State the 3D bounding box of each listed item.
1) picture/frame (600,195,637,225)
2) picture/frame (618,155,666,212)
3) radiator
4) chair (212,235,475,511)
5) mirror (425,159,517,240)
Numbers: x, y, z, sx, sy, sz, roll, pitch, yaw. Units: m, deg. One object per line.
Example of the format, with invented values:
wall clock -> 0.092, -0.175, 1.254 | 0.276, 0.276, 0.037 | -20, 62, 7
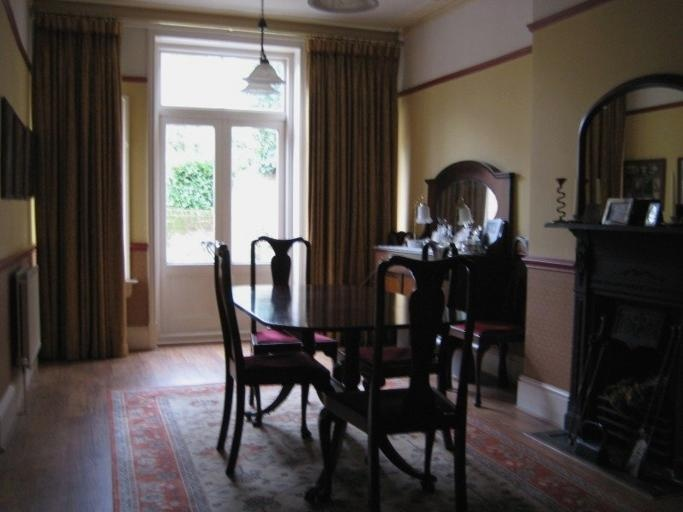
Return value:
picture/frame -> 1.698, -0.286, 3.326 | 0.016, 0.252, 0.201 | 23, -9, -17
picture/frame -> 1.806, -0.437, 3.249 | 0.023, 0.386, 0.304 | -3, 6, -30
radiator -> -2.378, 0.615, 4.113 | 0.120, 0.934, 0.909 | 0, 5, -17
chair -> 0.044, 0.635, 2.888 | 1.279, 0.941, 1.386 | -4, 8, -23
mirror -> 1.194, -0.512, 4.906 | 0.070, 0.625, 0.736 | -1, 5, -21
